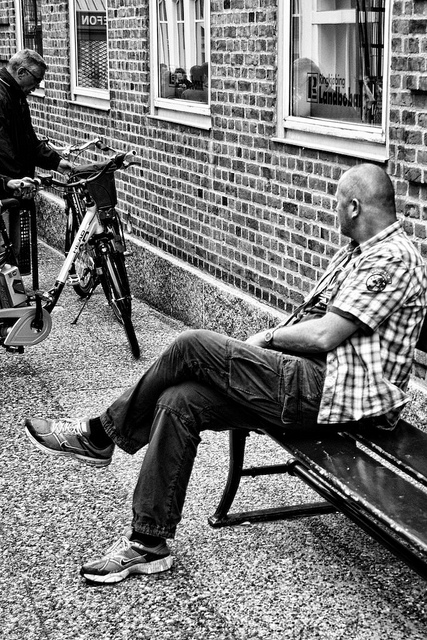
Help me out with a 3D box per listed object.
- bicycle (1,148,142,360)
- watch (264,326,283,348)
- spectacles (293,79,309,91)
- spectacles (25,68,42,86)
[{"bbox_3d":[-1.148,-0.470,5.166,0.977,1.519,1.048,-3,6,-17],"label":"bicycle"},{"bbox_3d":[0.204,0.054,2.332,0.023,0.066,0.050,26,19,-23],"label":"watch"},{"bbox_3d":[0.549,-1.476,4.211,0.097,0.051,0.005,3,7,34],"label":"spectacles"},{"bbox_3d":[-1.597,-2.154,5.891,0.035,0.118,0.112,-40,0,-2],"label":"spectacles"}]
